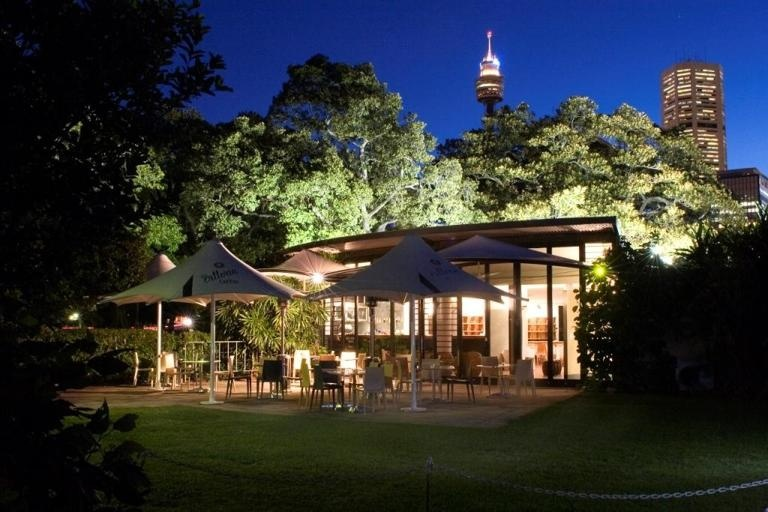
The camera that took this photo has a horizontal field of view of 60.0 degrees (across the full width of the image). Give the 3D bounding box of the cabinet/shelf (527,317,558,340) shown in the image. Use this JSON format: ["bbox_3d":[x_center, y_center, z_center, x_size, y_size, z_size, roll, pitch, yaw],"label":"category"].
[{"bbox_3d":[4.679,2.150,19.604,0.917,0.923,0.336,-1,0,11],"label":"cabinet/shelf"}]

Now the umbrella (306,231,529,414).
[{"bbox_3d":[0.568,1.056,13.445,2.985,2.853,3.257,1,10,22],"label":"umbrella"}]

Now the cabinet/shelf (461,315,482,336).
[{"bbox_3d":[2.454,1.988,18.656,0.640,0.664,0.491,-1,-7,8],"label":"cabinet/shelf"}]

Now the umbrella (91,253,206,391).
[{"bbox_3d":[-5.364,1.451,16.568,3.208,3.379,3.173,5,-8,-39],"label":"umbrella"}]

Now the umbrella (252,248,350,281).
[{"bbox_3d":[-2.048,0.112,17.046,2.050,0.574,1.634,-17,-20,28],"label":"umbrella"}]
